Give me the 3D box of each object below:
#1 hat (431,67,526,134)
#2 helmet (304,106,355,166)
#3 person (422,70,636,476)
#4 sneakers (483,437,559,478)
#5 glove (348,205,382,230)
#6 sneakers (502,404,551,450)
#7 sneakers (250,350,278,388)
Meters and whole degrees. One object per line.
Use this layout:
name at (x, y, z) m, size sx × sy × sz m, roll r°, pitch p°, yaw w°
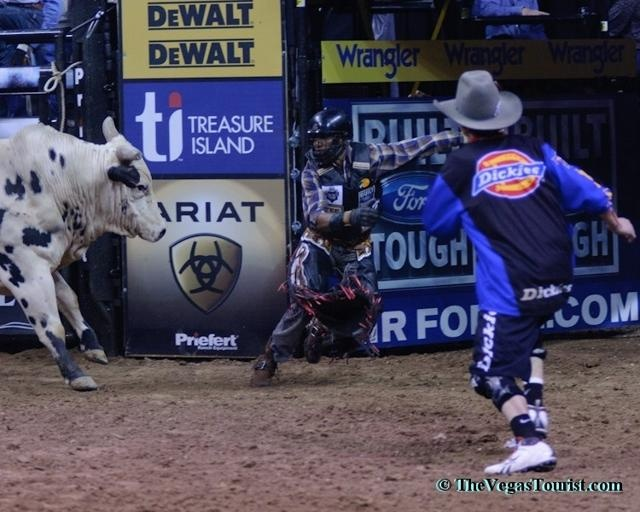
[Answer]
hat at (0.967, -1.007, 7.096) m, size 0.561 × 0.231 × 0.642 m, roll -5°, pitch 29°, yaw -5°
helmet at (0.111, -0.912, 8.730) m, size 0.422 × 0.414 × 0.356 m, roll -8°, pitch 9°, yaw -25°
person at (1.179, 0.079, 6.911) m, size 1.119 × 2.345 × 0.967 m, roll 1°, pitch 10°, yaw 5°
sneakers at (1.208, 1.144, 6.741) m, size 0.170 × 0.223 × 0.500 m, roll -8°, pitch -10°, yaw -39°
glove at (0.335, -0.260, 8.184) m, size 0.188 × 0.131 × 0.177 m, roll -1°, pitch -18°, yaw -1°
sneakers at (1.303, 1.105, 7.091) m, size 0.163 × 0.457 × 0.199 m, roll -6°, pitch 46°, yaw -2°
sneakers at (-0.460, 0.902, 9.037) m, size 0.211 × 0.159 × 0.350 m, roll 4°, pitch 41°, yaw 10°
